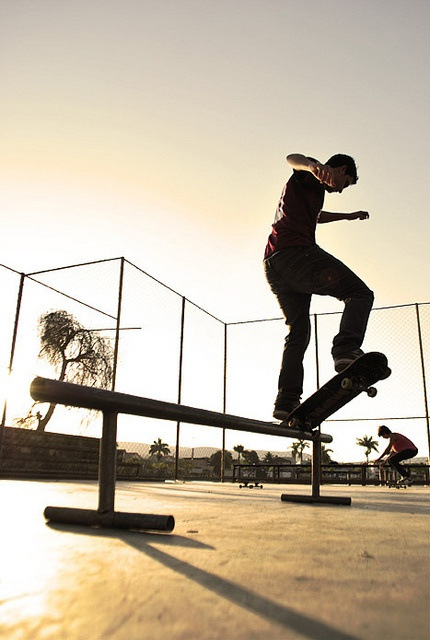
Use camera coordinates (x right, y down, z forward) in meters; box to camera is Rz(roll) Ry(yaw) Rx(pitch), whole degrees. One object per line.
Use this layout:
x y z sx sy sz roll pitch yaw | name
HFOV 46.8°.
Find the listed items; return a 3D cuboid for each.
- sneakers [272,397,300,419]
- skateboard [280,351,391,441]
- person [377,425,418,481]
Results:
0.365 0.482 2.662 0.198 0.135 0.064 5 -4 -19 | sneakers
0.603 0.347 2.635 0.279 0.141 0.913 24 -44 -17 | skateboard
3.247 2.326 8.739 0.566 0.897 0.725 6 -13 -13 | person
